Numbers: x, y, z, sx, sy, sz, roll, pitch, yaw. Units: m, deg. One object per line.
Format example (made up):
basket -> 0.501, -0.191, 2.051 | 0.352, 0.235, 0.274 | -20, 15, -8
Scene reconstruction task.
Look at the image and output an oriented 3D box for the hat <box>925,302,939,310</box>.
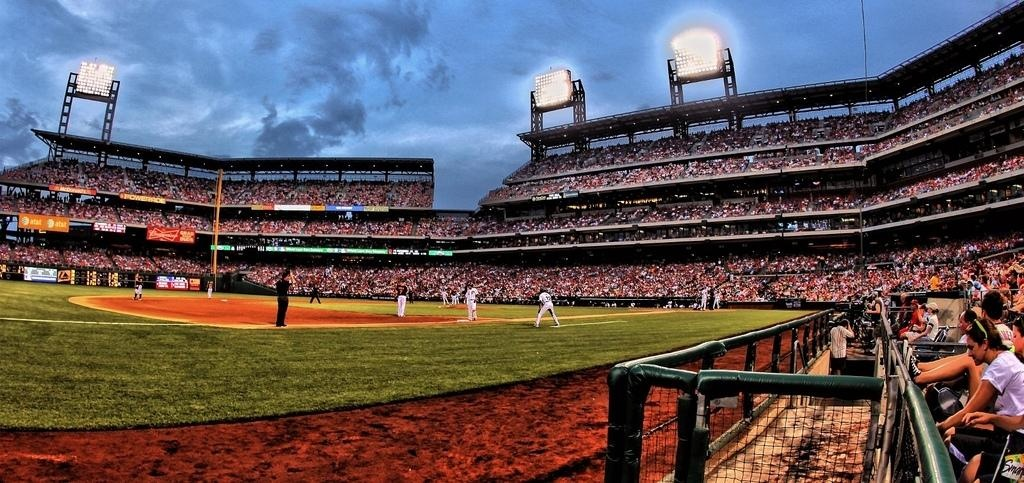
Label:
hat -> 31.503, 4.810, 55.611 | 1.321, 0.465, 0.790 | 4, 2, -5
